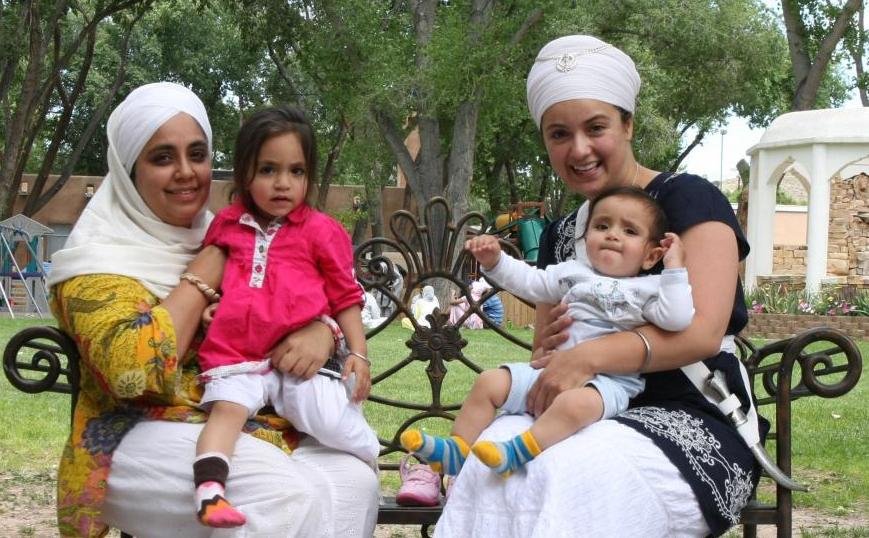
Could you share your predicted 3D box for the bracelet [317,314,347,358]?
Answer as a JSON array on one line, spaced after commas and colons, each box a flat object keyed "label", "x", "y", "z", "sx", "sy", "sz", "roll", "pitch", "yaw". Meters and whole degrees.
[{"label": "bracelet", "x": -0.585, "y": 0.397, "z": 4.564, "sx": 0.122, "sy": 0.226, "sz": 0.172, "roll": -16, "pitch": 6, "yaw": 17}]

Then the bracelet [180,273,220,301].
[{"label": "bracelet", "x": -1.360, "y": 0.103, "z": 4.450, "sx": 0.182, "sy": 0.075, "sz": 0.166, "roll": 38, "pitch": 6, "yaw": 15}]

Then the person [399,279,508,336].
[{"label": "person", "x": 0.260, "y": 0.490, "z": 9.692, "sx": 0.982, "sy": 0.438, "sz": 1.241, "roll": 4, "pitch": 5, "yaw": 2}]

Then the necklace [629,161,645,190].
[{"label": "necklace", "x": 1.176, "y": -0.543, "z": 4.380, "sx": 0.123, "sy": 0.131, "sz": 0.155, "roll": -1, "pitch": 3, "yaw": 4}]
